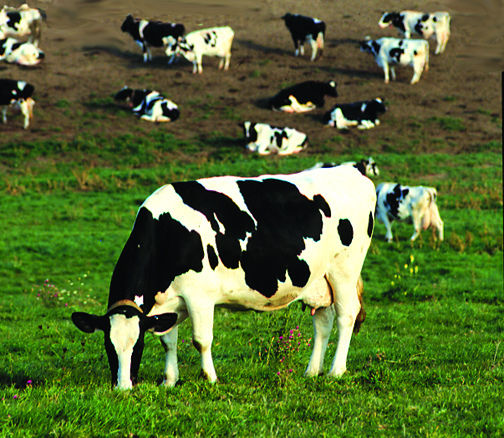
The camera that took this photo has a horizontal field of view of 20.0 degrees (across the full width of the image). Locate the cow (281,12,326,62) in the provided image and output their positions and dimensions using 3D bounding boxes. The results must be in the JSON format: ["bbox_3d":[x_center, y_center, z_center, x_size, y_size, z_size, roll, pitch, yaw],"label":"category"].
[{"bbox_3d":[1.377,-5.058,39.034,1.279,1.199,0.579,14,19,27],"label":"cow"}]

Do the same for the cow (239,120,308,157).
[{"bbox_3d":[0.619,-2.082,38.042,1.755,0.837,0.417,4,9,-11],"label":"cow"}]
